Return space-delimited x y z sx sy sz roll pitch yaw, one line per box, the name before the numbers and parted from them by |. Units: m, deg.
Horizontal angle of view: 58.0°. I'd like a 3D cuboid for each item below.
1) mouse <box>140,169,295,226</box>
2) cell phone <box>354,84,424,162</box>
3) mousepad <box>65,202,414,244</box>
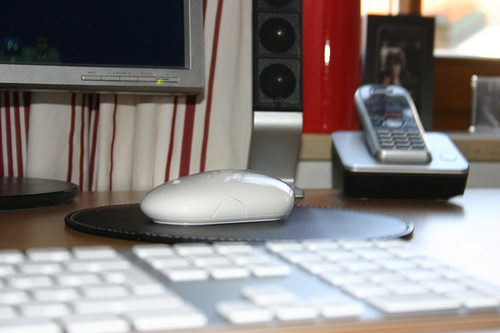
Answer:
mouse | -0.044 0.041 0.678 0.230 0.073 0.131 -1 7 -13
cell phone | 0.293 -0.093 0.936 0.118 0.045 0.220 -2 50 -2
mousepad | -0.013 0.076 0.647 0.495 0.017 0.250 1 9 -4
